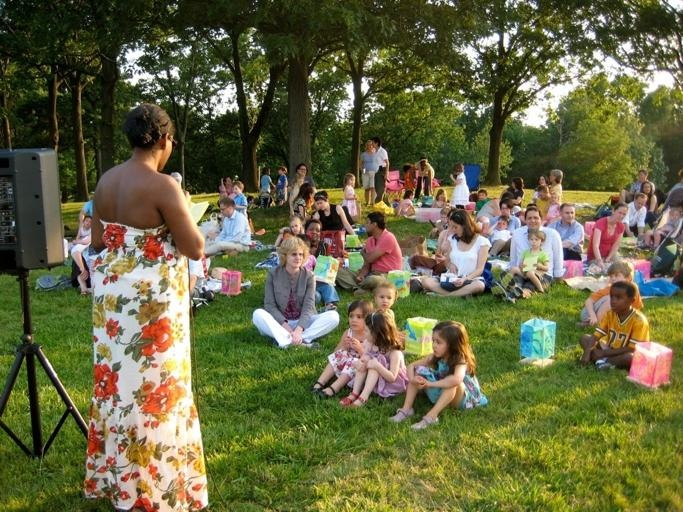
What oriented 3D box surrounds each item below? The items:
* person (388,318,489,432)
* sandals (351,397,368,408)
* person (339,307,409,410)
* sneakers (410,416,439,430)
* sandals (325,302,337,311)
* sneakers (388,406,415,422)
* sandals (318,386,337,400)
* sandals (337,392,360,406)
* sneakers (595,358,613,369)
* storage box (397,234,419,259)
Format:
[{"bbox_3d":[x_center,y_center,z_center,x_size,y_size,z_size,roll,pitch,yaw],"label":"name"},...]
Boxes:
[{"bbox_3d":[0.979,1.129,7.506,1.030,0.957,0.636,-8,11,-41],"label":"person"},{"bbox_3d":[0.175,1.459,7.561,0.147,0.045,0.064,-7,49,-11],"label":"sandals"},{"bbox_3d":[0.350,1.039,7.794,0.468,0.938,0.739,9,14,35],"label":"person"},{"bbox_3d":[0.787,1.579,7.173,0.246,0.077,0.105,1,-1,-36],"label":"sneakers"},{"bbox_3d":[-0.115,0.679,10.361,0.062,0.147,0.189,0,-10,-27],"label":"sandals"},{"bbox_3d":[0.584,1.522,7.349,0.225,0.093,0.105,-2,0,-34],"label":"sneakers"},{"bbox_3d":[-0.143,1.394,7.753,0.195,0.092,0.071,9,-9,-40],"label":"sandals"},{"bbox_3d":[0.076,1.435,7.596,0.203,0.062,0.080,0,2,-29],"label":"sandals"},{"bbox_3d":[2.811,1.157,8.158,0.183,0.094,0.076,-5,1,35],"label":"sneakers"},{"bbox_3d":[1.117,-0.160,12.764,0.400,0.213,0.543,0,3,4],"label":"storage box"}]
